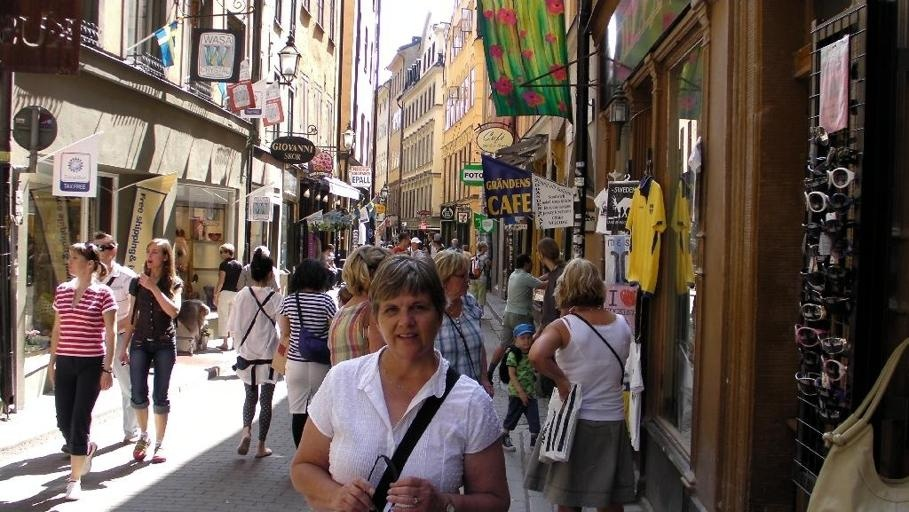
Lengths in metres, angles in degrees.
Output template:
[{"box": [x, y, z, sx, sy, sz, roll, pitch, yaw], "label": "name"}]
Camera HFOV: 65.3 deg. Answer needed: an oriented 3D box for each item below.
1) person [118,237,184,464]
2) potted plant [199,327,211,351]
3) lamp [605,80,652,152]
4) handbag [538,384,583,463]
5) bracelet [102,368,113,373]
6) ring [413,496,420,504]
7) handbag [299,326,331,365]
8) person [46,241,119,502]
[{"box": [-3.795, 1.155, 8.901, 0.631, 2.721, 0.560, 2, 3, -9], "label": "person"}, {"box": [-5.286, 1.790, 15.104, 0.326, 0.462, 0.340, -3, -4, -1], "label": "potted plant"}, {"box": [2.474, -2.029, 10.196, 0.525, 0.961, 1.067, 2, 3, 1], "label": "lamp"}, {"box": [0.965, 1.537, 6.525, 0.319, 0.725, 0.310, 4, 3, 24], "label": "handbag"}, {"box": [-3.870, 1.288, 7.949, 0.082, 0.073, 0.081, 0, 4, -38], "label": "bracelet"}, {"box": [-0.219, 1.398, 4.053, 0.043, 0.046, 0.010, 0, 0, -9], "label": "ring"}, {"box": [-1.601, 1.015, 8.071, 0.392, 0.415, 0.174, 17, -19, -20], "label": "handbag"}, {"box": [-4.155, 1.228, 7.968, 0.613, 2.702, 0.900, 0, 3, -34], "label": "person"}]
